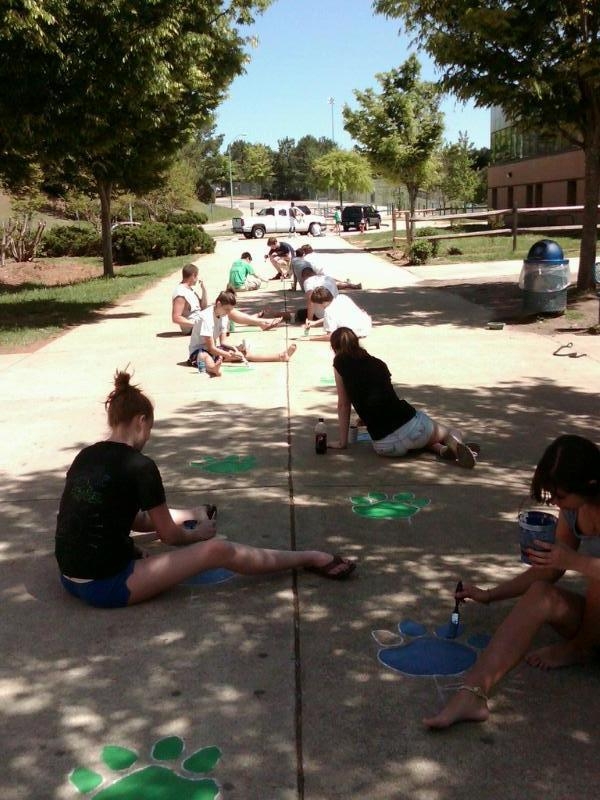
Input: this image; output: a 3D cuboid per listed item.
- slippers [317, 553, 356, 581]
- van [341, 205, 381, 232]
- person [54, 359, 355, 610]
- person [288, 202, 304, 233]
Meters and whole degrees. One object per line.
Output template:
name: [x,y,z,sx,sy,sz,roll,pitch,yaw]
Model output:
slippers: [0.198,0.831,3.472,0.216,0.075,0.083,14,53,28]
van: [4.715,-13.876,53.097,1.978,1.583,3.966,7,24,26]
person: [-0.522,0.337,3.541,1.420,0.988,1.026,-3,9,-29]
person: [-0.317,-11.369,43.817,0.725,1.578,1.422,4,14,21]
